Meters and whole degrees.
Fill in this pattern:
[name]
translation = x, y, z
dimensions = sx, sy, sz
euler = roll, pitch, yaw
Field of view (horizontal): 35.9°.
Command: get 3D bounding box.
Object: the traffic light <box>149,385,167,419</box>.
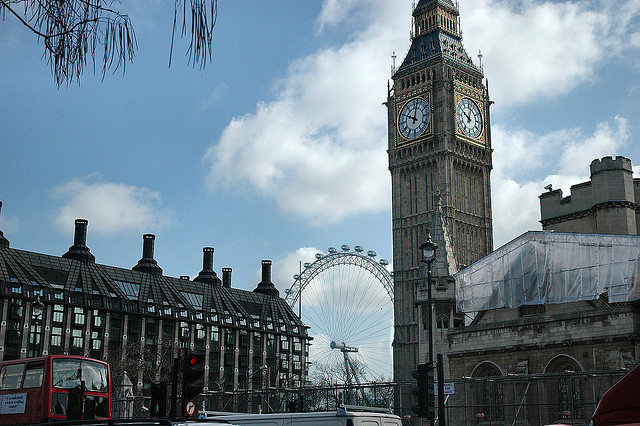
[traffic light]
translation = -9.118, 10.599, 56.002
dimensions = 0.943, 1.781, 0.696
euler = -2, -21, 3
